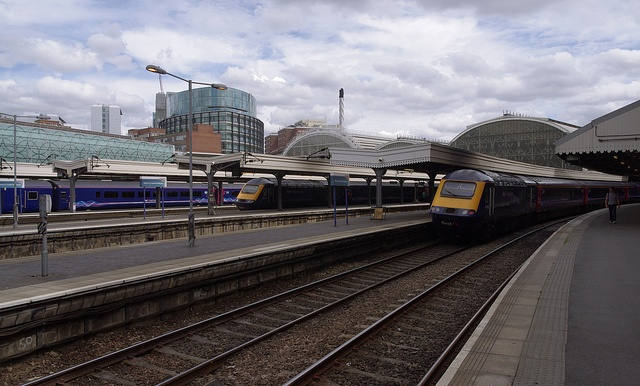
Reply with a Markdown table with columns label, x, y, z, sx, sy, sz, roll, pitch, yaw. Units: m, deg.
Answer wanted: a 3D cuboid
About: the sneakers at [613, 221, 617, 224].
| label | x | y | z | sx | sy | sz | roll | pitch | yaw |
| --- | --- | --- | --- | --- | --- | --- | --- | --- | --- |
| sneakers | 20.810 | 2.021 | 32.314 | 0.384 | 0.140 | 0.121 | -6 | 10 | -25 |
